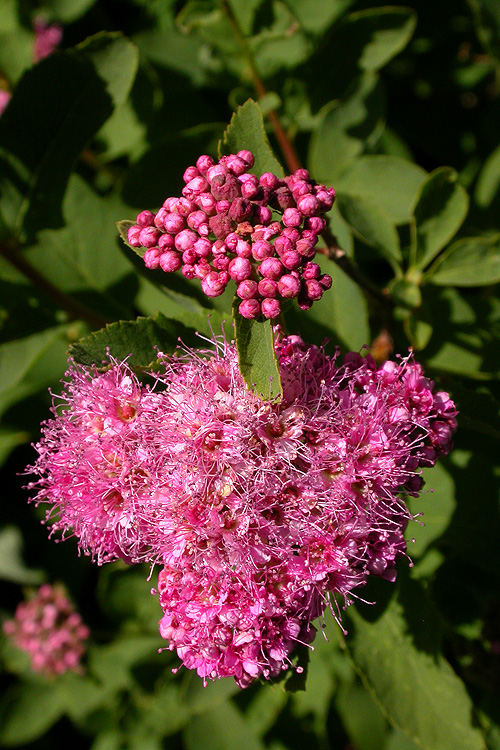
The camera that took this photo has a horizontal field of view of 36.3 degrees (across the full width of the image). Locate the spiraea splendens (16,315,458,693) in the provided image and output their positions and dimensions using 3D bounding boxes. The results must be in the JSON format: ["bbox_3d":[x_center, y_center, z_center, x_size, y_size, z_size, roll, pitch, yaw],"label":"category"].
[{"bbox_3d":[-0.061,0.223,1.705,0.863,0.333,0.803,27,84,4],"label":"spiraea splendens"}]
